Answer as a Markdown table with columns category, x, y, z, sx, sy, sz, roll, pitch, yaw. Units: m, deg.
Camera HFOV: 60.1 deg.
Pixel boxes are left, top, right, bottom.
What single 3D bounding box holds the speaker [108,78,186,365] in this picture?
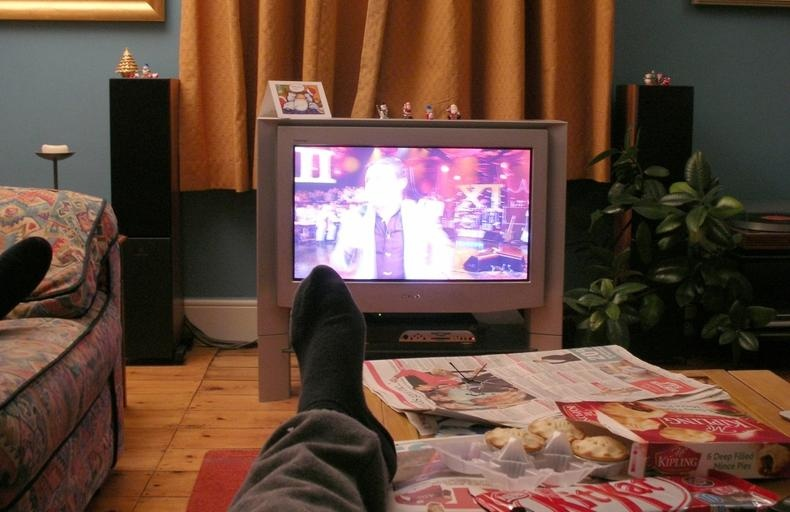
| category | x | y | z | sx | sy | sz | roll | pitch | yaw |
| --- | --- | --- | --- | --- | --- | --- | --- | --- | --- |
| speaker | -1.069 | -0.139 | 3.023 | 0.281 | 1.252 | 0.289 | -2 | 15 | -11 |

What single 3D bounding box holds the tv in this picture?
| category | x | y | z | sx | sy | sz | roll | pitch | yaw |
| --- | --- | --- | --- | --- | --- | --- | --- | --- | --- |
| tv | 0.029 | -0.159 | 2.422 | 1.075 | 0.584 | 0.160 | 0 | 8 | -5 |

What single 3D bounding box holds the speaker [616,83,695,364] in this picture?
| category | x | y | z | sx | sy | sz | roll | pitch | yaw |
| --- | --- | --- | --- | --- | --- | --- | --- | --- | --- |
| speaker | 1.132 | -0.134 | 3.039 | 0.319 | 1.244 | 0.347 | -1 | 13 | 13 |

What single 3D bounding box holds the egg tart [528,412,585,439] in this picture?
| category | x | y | z | sx | sy | sz | roll | pitch | yaw |
| --- | --- | --- | --- | --- | --- | --- | --- | --- | --- |
| egg tart | 0.352 | 0.373 | 1.513 | 0.066 | 0.017 | 0.062 | -5 | 11 | -22 |

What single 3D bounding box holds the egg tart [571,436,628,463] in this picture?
| category | x | y | z | sx | sy | sz | roll | pitch | yaw |
| --- | --- | --- | --- | --- | --- | --- | --- | --- | --- |
| egg tart | 0.439 | 0.409 | 1.467 | 0.067 | 0.021 | 0.068 | 1 | 4 | 27 |

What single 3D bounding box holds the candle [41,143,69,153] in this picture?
| category | x | y | z | sx | sy | sz | roll | pitch | yaw |
| --- | --- | --- | --- | --- | --- | --- | --- | --- | --- |
| candle | -1.402 | -0.441 | 2.822 | 0.095 | 0.034 | 0.042 | -7 | 13 | -22 |
